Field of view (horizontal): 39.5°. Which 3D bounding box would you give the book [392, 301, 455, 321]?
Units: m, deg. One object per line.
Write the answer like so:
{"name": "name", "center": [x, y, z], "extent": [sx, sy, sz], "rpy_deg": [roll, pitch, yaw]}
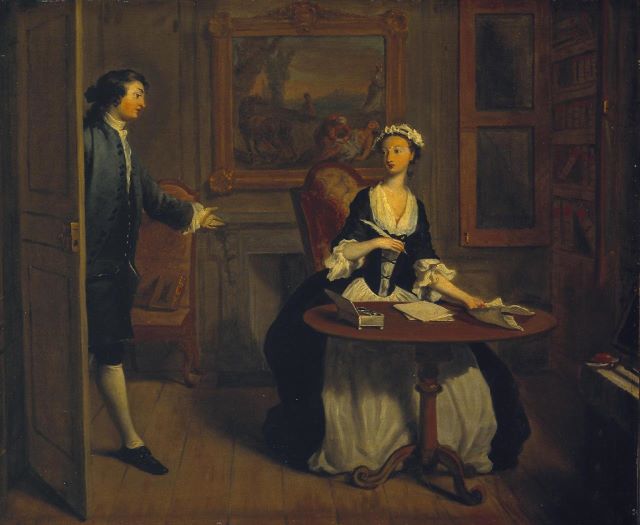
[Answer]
{"name": "book", "center": [0.572, 0.262, 4.909], "extent": [0.276, 0.067, 0.388], "rpy_deg": [4, 5, -14]}
